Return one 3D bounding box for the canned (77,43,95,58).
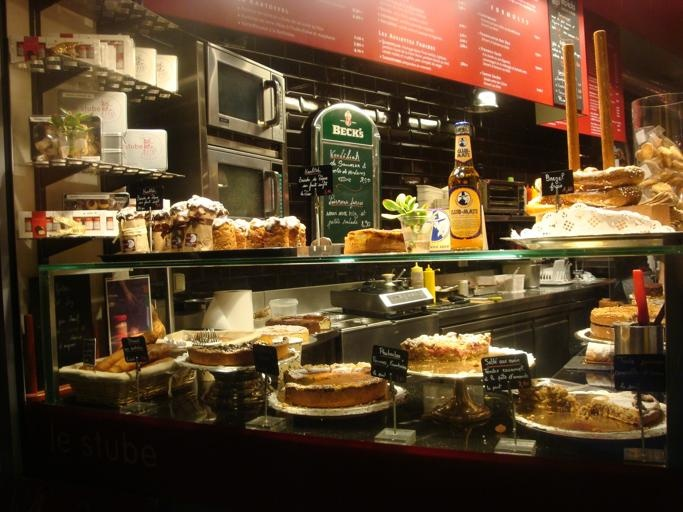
[{"bbox_3d":[-1.085,-0.882,2.486,0.068,0.059,0.062,2,24,-7],"label":"canned"}]

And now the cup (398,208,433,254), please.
[{"bbox_3d":[0.249,-0.086,1.890,0.142,0.124,0.135,-2,0,0],"label":"cup"}]

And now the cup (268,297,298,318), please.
[{"bbox_3d":[-0.333,0.280,3.215,0.126,0.082,0.120,-1,1,0],"label":"cup"}]

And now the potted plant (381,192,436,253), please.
[{"bbox_3d":[0.238,-0.117,2.027,0.212,0.226,0.198,-2,-2,36],"label":"potted plant"}]

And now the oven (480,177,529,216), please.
[{"bbox_3d":[1.386,-0.511,5.165,0.482,0.318,0.273,-1,0,-22],"label":"oven"}]

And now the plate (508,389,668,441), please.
[{"bbox_3d":[0.761,0.460,1.749,0.396,0.071,0.317,2,14,33],"label":"plate"}]

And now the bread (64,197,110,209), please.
[{"bbox_3d":[-1.088,-0.228,2.474,0.192,0.063,0.040,-4,13,10],"label":"bread"}]

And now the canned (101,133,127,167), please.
[{"bbox_3d":[-1.033,-0.489,2.638,0.084,0.144,0.225,-7,12,0],"label":"canned"}]

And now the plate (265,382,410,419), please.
[{"bbox_3d":[-0.062,0.493,1.881,0.440,0.043,0.150,0,13,23],"label":"plate"}]

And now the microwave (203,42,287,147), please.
[{"bbox_3d":[-0.577,-0.928,3.389,0.465,0.413,0.697,-2,-2,31],"label":"microwave"}]

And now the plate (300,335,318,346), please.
[{"bbox_3d":[-0.152,0.394,2.689,0.095,0.016,0.117,1,2,4],"label":"plate"}]

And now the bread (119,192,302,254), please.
[{"bbox_3d":[-0.464,-0.110,2.098,0.645,0.220,0.394,-10,13,-20],"label":"bread"}]

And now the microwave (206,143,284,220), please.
[{"bbox_3d":[-0.580,-0.441,3.431,0.360,0.321,0.538,1,1,27],"label":"microwave"}]

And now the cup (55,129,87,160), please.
[{"bbox_3d":[-1.125,-0.468,2.429,0.118,0.121,0.118,5,6,-1],"label":"cup"}]
